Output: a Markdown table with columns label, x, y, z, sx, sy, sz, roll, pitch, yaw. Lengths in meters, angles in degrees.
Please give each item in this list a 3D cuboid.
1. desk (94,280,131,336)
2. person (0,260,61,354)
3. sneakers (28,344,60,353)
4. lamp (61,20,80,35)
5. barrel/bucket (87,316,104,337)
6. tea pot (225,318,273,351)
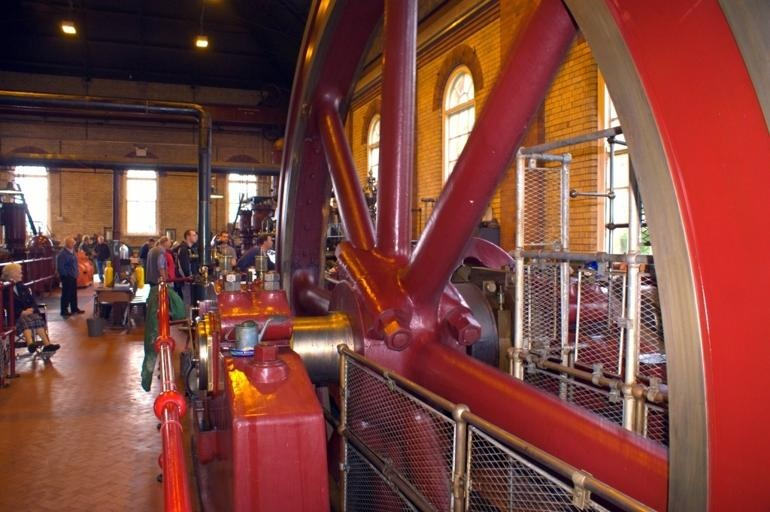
| label | x | y | z | sx | sy | sz | roll | pitch | yaw |
| --- | --- | --- | --- | --- | --- | --- | --- | --- | --- |
| desk | -5.180 | 1.058 | 11.247 | 0.794 | 0.894 | 0.981 | 1 | -5 | -21 |
| person | -5.543 | 0.701 | 9.222 | 1.929 | 1.218 | 0.618 | 23 | 23 | 40 |
| sneakers | -5.098 | 1.382 | 8.885 | 0.461 | 0.143 | 0.165 | -2 | -1 | -19 |
| lamp | -9.918 | -7.230 | 18.551 | 0.537 | 0.139 | 0.582 | 24 | 19 | 28 |
| barrel/bucket | -5.208 | 1.261 | 10.568 | 0.314 | 0.343 | 0.314 | -3 | -2 | 0 |
| tea pot | -0.706 | 0.410 | 3.118 | 0.232 | 0.167 | 0.142 | 3 | -2 | -37 |
